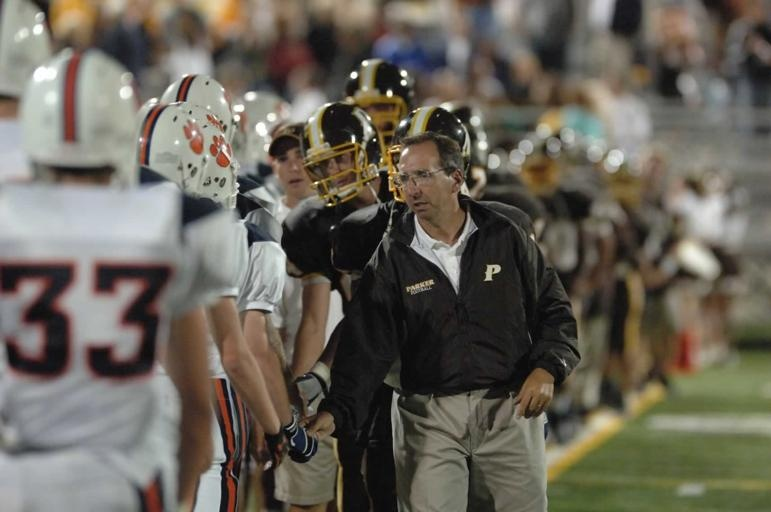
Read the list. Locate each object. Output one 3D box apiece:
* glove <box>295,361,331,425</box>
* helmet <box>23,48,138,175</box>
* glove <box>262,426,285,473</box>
[{"bbox_3d":[-0.396,0.717,5.025,0.184,0.287,0.282,-2,4,-6],"label":"glove"},{"bbox_3d":[-1.417,-0.671,3.975,0.583,0.527,0.437,-10,19,-35],"label":"helmet"},{"bbox_3d":[-0.563,0.945,4.611,0.113,0.236,0.097,0,-5,25],"label":"glove"}]
